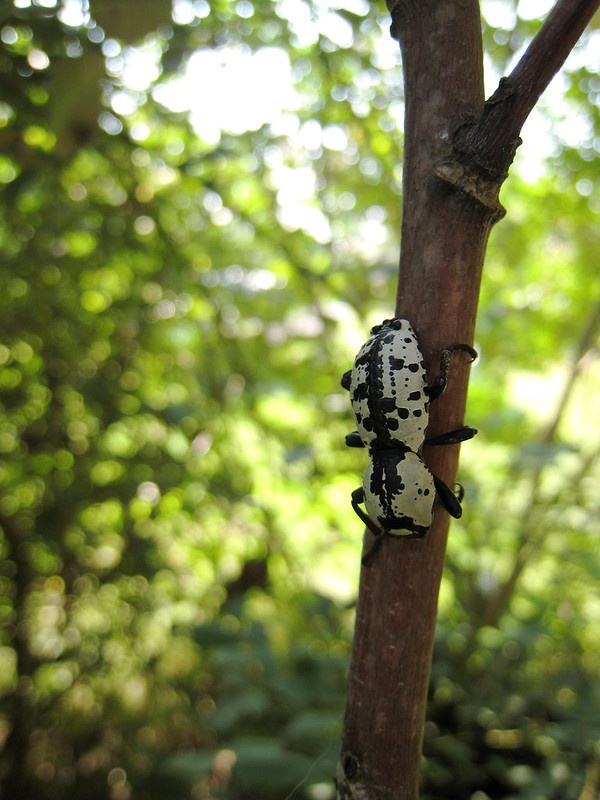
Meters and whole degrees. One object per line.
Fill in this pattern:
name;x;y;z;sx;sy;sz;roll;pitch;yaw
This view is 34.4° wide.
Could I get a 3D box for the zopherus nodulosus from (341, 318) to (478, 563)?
zopherus nodulosus;0.289;0.086;2.803;0.245;0.593;0.548;-7;5;-42
